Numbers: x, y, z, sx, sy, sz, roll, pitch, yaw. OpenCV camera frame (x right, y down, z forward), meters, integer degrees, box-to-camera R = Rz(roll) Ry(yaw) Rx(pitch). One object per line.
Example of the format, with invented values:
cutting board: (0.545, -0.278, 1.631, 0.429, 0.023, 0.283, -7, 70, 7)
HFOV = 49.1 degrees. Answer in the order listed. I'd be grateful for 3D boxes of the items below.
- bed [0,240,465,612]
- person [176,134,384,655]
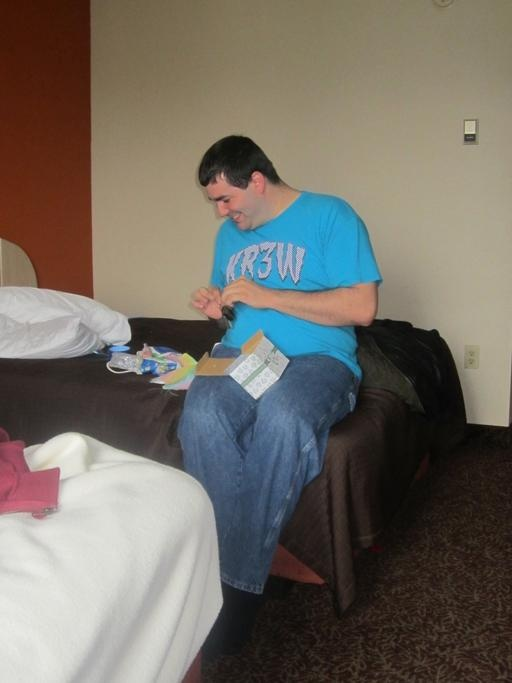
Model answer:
bed: (-0.177, 0.171, 1.620, 1.161, 0.481, 0.825, 7, 18, 21)
person: (0.058, 0.027, 1.418, 0.511, 1.125, 0.659, -3, 7, -6)
